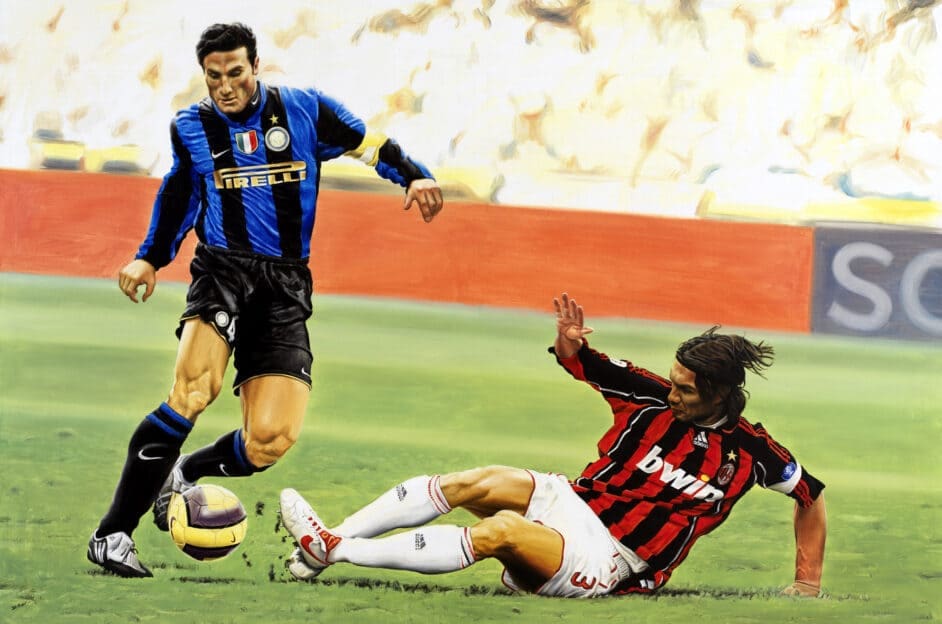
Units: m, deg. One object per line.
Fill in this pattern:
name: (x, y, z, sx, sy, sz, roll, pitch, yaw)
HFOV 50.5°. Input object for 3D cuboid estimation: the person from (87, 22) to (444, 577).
person: (-1.001, -0.009, 4.262, 1.072, 2.333, 0.298, 5, 7, -6)

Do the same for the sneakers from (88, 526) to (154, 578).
sneakers: (-1.499, 1.027, 4.271, 0.335, 0.155, 0.134, 13, -1, 15)

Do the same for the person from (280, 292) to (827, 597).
person: (0.410, 0.619, 4.344, 2.332, 1.289, 0.671, 1, -2, -7)
